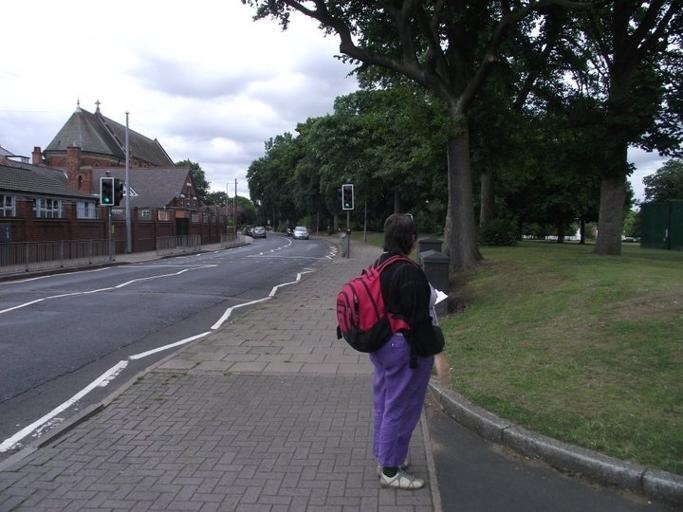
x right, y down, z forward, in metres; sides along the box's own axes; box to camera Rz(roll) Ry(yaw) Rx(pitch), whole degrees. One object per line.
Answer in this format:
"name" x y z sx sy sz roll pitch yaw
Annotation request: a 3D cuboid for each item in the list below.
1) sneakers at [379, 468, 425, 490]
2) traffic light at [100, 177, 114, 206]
"sneakers" 0.650 2.339 6.588 0.441 0.205 0.203 0 1 -6
"traffic light" -10.199 -2.833 26.674 0.514 1.154 0.413 -2 6 -19
